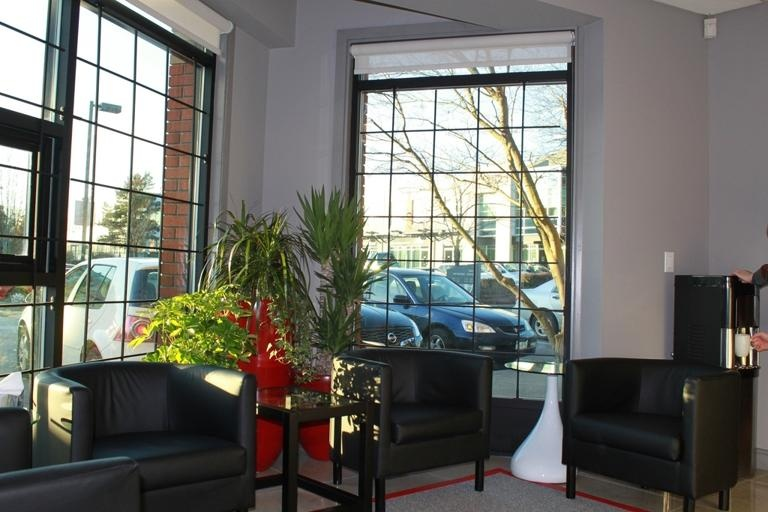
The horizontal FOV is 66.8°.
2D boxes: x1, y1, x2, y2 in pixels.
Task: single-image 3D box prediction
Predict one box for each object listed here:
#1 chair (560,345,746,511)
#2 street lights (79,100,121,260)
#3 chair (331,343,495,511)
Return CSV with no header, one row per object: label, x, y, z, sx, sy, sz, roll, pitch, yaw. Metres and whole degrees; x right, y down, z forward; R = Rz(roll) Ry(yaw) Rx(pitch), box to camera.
chair,1.977,1.285,4.486,1.115,1.179,1.294,9,-10,-44
street lights,-2.188,-0.647,4.501,0.075,1.082,0.288,-3,-3,33
chair,0.165,1.258,4.773,1.206,1.162,1.110,3,-7,-31
